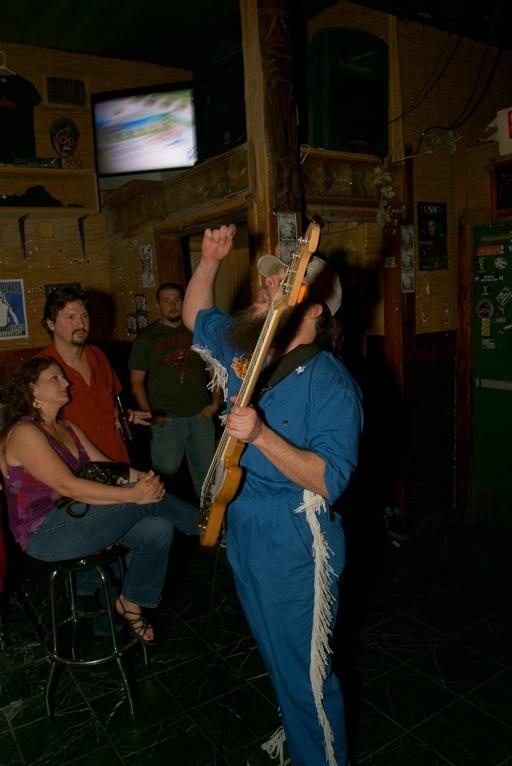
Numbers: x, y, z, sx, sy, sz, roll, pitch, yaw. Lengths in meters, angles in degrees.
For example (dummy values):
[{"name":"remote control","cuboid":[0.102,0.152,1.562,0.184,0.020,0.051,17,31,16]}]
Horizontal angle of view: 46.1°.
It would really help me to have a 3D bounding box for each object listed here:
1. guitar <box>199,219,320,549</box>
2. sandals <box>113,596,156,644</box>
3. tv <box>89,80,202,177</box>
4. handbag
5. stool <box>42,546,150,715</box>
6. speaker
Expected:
[{"name":"guitar","cuboid":[-0.010,0.073,1.806,0.359,1.026,0.639,-7,12,-12]},{"name":"sandals","cuboid":[-0.576,1.142,2.900,0.077,0.306,0.131,-41,13,-1]},{"name":"tv","cuboid":[-0.863,-2.023,4.814,1.088,0.764,0.156,-5,-3,21]},{"name":"handbag","cuboid":[-0.683,0.459,2.621,0.172,0.244,0.090,4,-5,38]},{"name":"stool","cuboid":[-0.737,1.094,2.686,0.480,0.639,0.494,-11,-10,24]},{"name":"speaker","cuboid":[0.588,-1.815,3.783,0.552,0.704,0.166,-11,13,-29]}]
